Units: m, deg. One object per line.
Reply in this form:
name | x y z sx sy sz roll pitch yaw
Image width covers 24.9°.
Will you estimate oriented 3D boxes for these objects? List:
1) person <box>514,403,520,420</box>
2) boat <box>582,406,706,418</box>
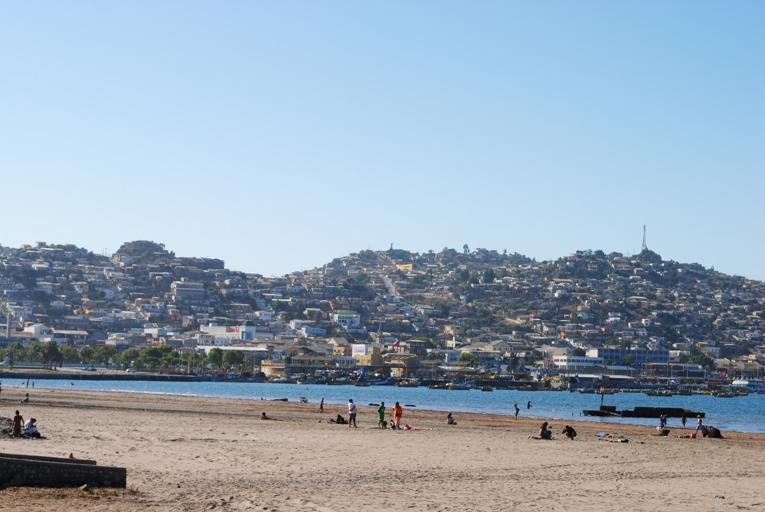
person | 19.098 21.923 245.951 0.999 0.809 3.197 7 24 2
boat | 37.840 22.820 253.067 15.897 2.229 9.178 -1 -10 11
